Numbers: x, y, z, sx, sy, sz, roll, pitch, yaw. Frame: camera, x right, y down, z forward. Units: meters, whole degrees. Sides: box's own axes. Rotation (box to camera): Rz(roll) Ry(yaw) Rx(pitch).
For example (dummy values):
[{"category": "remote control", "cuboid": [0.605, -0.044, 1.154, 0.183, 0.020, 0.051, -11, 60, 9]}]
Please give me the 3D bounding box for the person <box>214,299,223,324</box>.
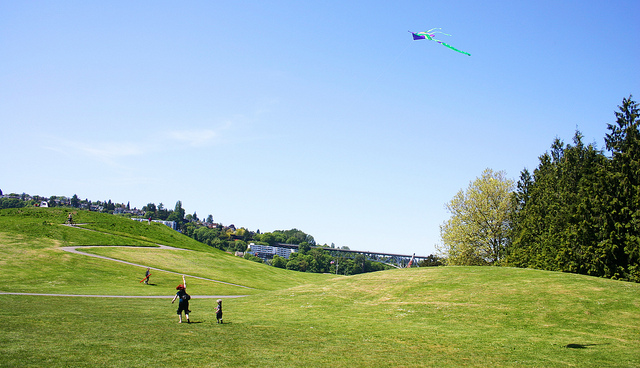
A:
[{"category": "person", "cuboid": [-12.398, 15.802, 56.525, 0.767, 3.007, 1.085, 2, 4, -13]}]
